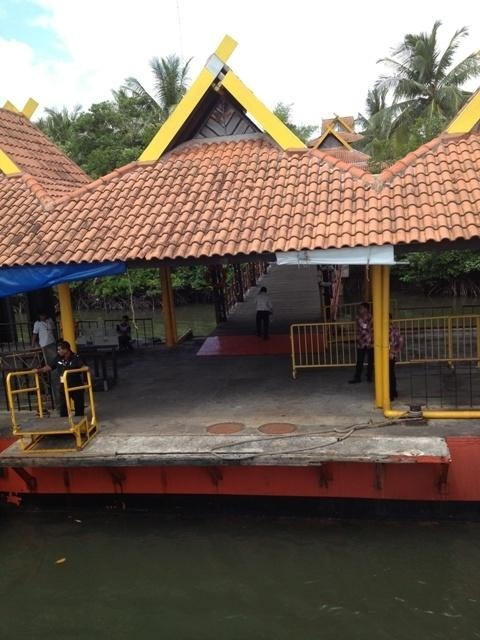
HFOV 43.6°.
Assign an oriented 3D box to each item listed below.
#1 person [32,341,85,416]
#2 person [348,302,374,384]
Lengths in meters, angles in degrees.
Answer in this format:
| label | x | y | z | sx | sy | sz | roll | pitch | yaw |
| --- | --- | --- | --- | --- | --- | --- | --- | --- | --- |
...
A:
| label | x | y | z | sx | sy | sz | roll | pitch | yaw |
| --- | --- | --- | --- | --- | --- | --- | --- | --- | --- |
| person | -3.443 | 1.255 | 11.902 | 0.882 | 1.639 | 0.637 | 0 | 15 | 2 |
| person | 2.769 | 0.588 | 13.890 | 0.594 | 1.985 | 1.009 | -4 | 10 | 10 |
